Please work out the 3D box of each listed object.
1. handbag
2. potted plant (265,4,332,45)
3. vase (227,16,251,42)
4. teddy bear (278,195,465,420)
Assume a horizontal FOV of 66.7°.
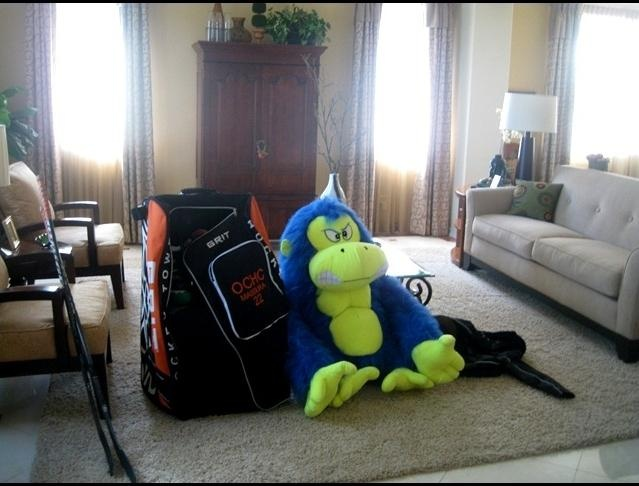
[{"bbox_3d":[-0.558,0.281,2.577,0.760,1.118,0.666,-8,-4,-20],"label":"handbag"},{"bbox_3d":[-0.215,-2.152,5.007,0.545,0.319,0.550,6,16,3],"label":"potted plant"},{"bbox_3d":[-0.800,-2.110,4.866,0.253,0.256,0.258,-6,18,-25],"label":"vase"},{"bbox_3d":[0.172,0.273,2.586,0.862,1.012,0.761,-12,10,-18],"label":"teddy bear"}]
